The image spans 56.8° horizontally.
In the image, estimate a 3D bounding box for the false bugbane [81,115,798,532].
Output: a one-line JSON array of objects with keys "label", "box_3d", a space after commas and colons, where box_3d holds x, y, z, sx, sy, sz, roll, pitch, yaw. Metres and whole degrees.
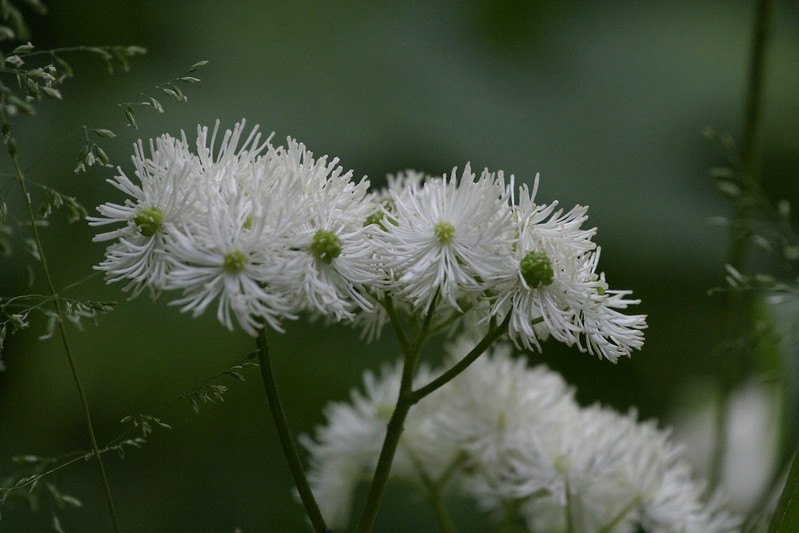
[{"label": "false bugbane", "box_3d": [0.018, 0.064, 1.059, 0.623, 0.457, 0.691, -10, -46, -4]}]
